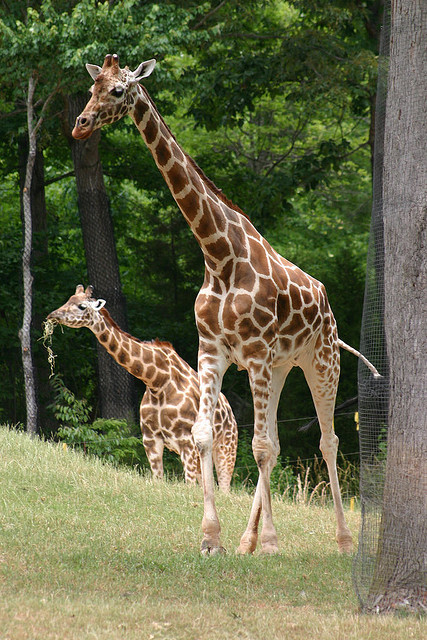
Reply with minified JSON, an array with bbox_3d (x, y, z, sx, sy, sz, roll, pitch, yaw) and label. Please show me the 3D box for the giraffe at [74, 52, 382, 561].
[{"bbox_3d":[0.212,-0.016,11.323,2.919,4.200,0.950,1,5,-40],"label":"giraffe"}]
